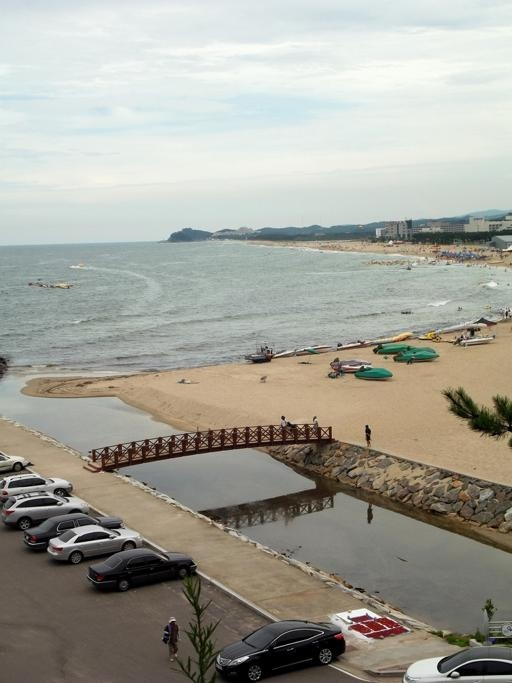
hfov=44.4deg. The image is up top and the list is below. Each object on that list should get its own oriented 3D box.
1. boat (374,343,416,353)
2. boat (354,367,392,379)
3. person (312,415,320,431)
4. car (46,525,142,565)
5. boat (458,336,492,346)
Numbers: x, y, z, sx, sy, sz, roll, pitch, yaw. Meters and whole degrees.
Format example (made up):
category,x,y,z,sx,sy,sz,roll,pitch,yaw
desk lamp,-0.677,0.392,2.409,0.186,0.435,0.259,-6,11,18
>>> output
category,x,y,z,sx,sy,sz,roll,pitch,yaw
boat,12.875,0.676,58.792,2.354,0.458,1.407,-6,2,23
boat,8.793,2.399,46.810,2.277,0.531,0.982,0,4,6
person,3.013,4.132,31.424,0.282,0.694,0.953,8,1,4
car,-4.587,5.586,17.832,2.463,0.630,0.998,-7,16,-26
boat,22.058,0.105,61.965,3.853,0.915,1.152,-8,-2,-10
